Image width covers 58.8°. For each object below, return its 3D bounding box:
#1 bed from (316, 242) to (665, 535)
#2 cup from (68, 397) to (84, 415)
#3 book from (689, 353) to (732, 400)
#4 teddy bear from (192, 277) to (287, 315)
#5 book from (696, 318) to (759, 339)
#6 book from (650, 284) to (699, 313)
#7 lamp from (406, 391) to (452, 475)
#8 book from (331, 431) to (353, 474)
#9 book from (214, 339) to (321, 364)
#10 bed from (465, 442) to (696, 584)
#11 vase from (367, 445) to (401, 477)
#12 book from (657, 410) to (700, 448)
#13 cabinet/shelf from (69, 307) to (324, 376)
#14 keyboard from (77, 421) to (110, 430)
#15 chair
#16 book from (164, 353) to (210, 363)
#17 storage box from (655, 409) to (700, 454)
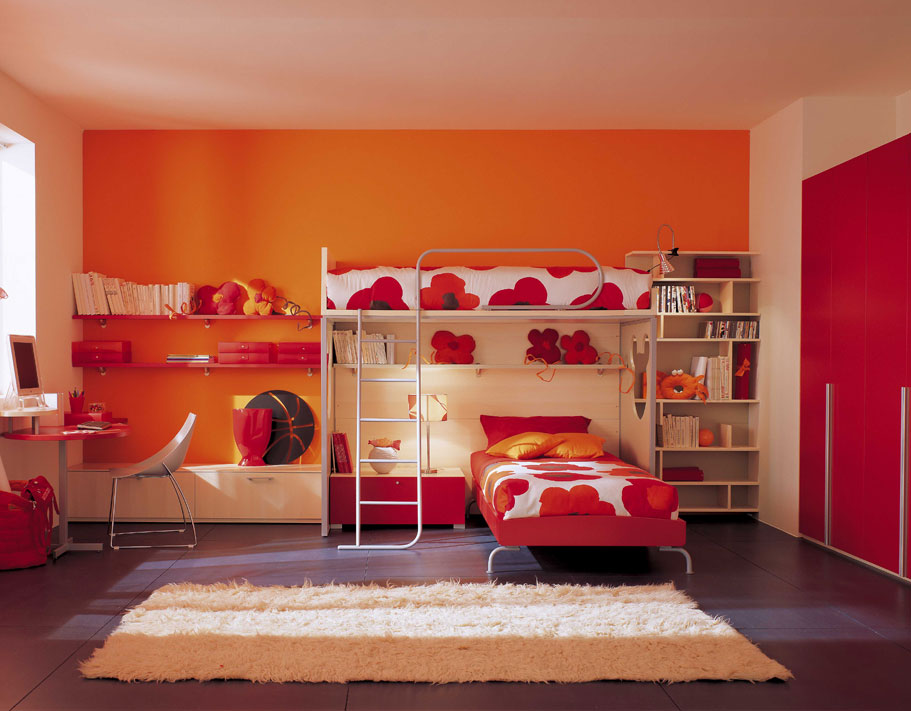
[{"bbox_3d":[0.227,0.312,6.479,2.842,2.018,1.412,0,-2,-3],"label":"bed"},{"bbox_3d":[-3.037,0.396,6.546,0.138,0.117,0.138,0,-7,0],"label":"cup"},{"bbox_3d":[2.202,0.195,7.071,0.377,0.397,0.461,-1,-2,2],"label":"book"},{"bbox_3d":[-1.847,-0.500,6.941,0.827,0.306,0.280,-1,9,-8],"label":"teddy bear"},{"bbox_3d":[2.329,-0.235,6.910,0.462,0.173,0.210,0,8,-3],"label":"book"},{"bbox_3d":[1.847,-0.472,6.804,0.371,0.228,0.139,1,9,5],"label":"book"},{"bbox_3d":[-0.231,0.686,6.996,0.404,0.665,0.328,0,-6,2],"label":"lamp"},{"bbox_3d":[-0.935,0.791,6.701,0.173,0.323,0.421,-1,8,-7],"label":"book"},{"bbox_3d":[-1.612,-0.028,6.899,0.906,0.186,0.202,0,8,-3],"label":"book"},{"bbox_3d":[0.920,1.118,5.838,1.449,0.707,1.114,0,8,-3],"label":"bed"},{"bbox_3d":[-0.615,0.864,6.647,0.272,0.180,0.237,4,-7,-24],"label":"vase"},{"bbox_3d":[1.859,0.603,6.890,0.404,0.307,0.256,0,-2,-8],"label":"book"},{"bbox_3d":[-2.182,-0.075,6.968,2.069,0.373,0.326,0,-3,-17],"label":"cabinet/shelf"},{"bbox_3d":[-2.744,0.527,6.151,0.200,0.014,0.138,2,6,-8],"label":"keyboard"},{"bbox_3d":[-2.377,0.949,6.346,0.858,0.886,0.801,-1,-1,-41],"label":"chair"},{"bbox_3d":[-2.275,0.026,6.932,0.353,0.057,0.213,-1,8,-9],"label":"book"},{"bbox_3d":[1.866,0.640,6.822,0.424,0.335,0.283,0,-2,0],"label":"storage box"}]
